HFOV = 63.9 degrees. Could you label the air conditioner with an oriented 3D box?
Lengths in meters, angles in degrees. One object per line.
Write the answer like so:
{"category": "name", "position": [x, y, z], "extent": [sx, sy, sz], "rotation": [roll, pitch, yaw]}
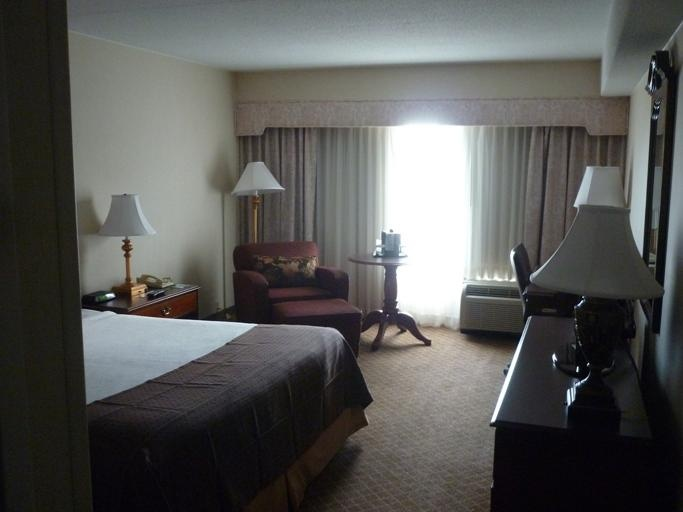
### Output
{"category": "air conditioner", "position": [1.509, 0.559, 5.399], "extent": [0.633, 0.517, 0.479], "rotation": [4, -9, 14]}

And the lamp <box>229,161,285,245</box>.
{"category": "lamp", "position": [-0.861, -0.550, 5.642], "extent": [0.509, 0.851, 0.680], "rotation": [-2, 7, -7]}

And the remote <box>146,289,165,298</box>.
{"category": "remote", "position": [-1.428, 0.286, 4.193], "extent": [0.055, 0.023, 0.082], "rotation": [5, 15, 14]}

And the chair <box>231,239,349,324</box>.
{"category": "chair", "position": [-0.492, 0.281, 5.153], "extent": [1.018, 0.838, 0.998], "rotation": [-2, 4, -11]}

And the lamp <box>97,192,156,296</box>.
{"category": "lamp", "position": [-1.683, -0.087, 4.213], "extent": [0.385, 0.771, 0.498], "rotation": [-6, 9, -34]}
